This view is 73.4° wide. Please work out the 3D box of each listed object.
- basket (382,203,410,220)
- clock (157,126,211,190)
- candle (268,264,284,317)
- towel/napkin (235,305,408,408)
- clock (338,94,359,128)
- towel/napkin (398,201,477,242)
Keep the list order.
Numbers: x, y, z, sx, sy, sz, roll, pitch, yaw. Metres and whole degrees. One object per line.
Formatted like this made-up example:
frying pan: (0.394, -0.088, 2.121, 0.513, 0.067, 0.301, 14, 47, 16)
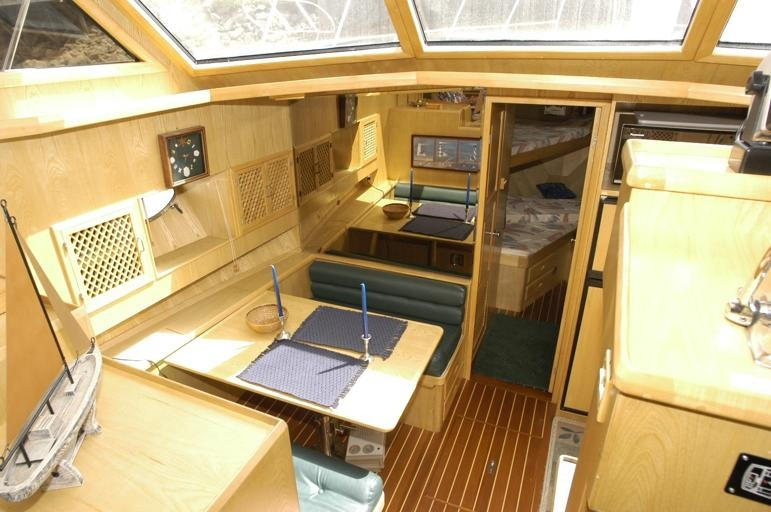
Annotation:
basket: (0.097, -0.437, 4.963, 0.190, 0.081, 0.190, 9, 38, 9)
clock: (-1.257, -0.620, 3.255, 0.052, 0.318, 0.321, 14, 28, 24)
candle: (-0.743, 0.246, 3.517, 0.048, 0.347, 0.029, -15, 28, -24)
towel/napkin: (-0.384, 0.597, 3.051, 0.570, 0.050, 0.664, 12, 32, 20)
clock: (-0.341, -1.298, 4.633, 0.031, 0.212, 0.300, 11, 28, 17)
towel/napkin: (0.501, -0.328, 4.776, 0.444, 0.054, 0.482, 7, 30, 19)
